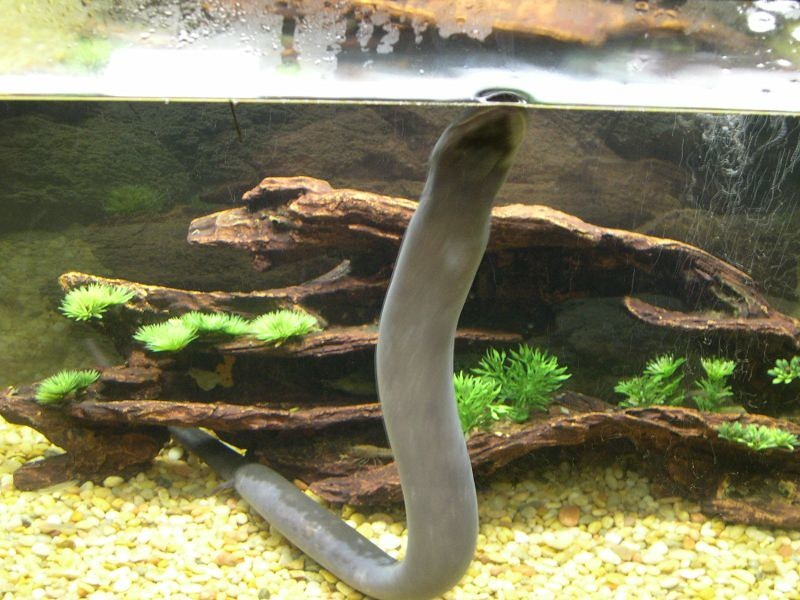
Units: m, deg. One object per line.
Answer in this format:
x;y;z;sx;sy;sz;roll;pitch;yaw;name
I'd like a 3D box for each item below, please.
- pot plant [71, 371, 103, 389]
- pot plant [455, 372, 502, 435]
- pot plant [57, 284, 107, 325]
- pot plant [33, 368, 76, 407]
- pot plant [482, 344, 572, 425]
-1.780;0.448;4.485;0.101;0.064;0.102;5;5;13;pot plant
0.467;0.598;4.430;0.321;0.321;0.297;-5;-7;35;pot plant
-1.890;0.015;4.715;0.287;0.181;0.211;-6;32;-8;pot plant
-1.936;0.490;4.431;0.240;0.112;0.184;-14;34;-21;pot plant
0.698;0.498;4.607;0.449;0.433;0.532;-7;-5;30;pot plant
